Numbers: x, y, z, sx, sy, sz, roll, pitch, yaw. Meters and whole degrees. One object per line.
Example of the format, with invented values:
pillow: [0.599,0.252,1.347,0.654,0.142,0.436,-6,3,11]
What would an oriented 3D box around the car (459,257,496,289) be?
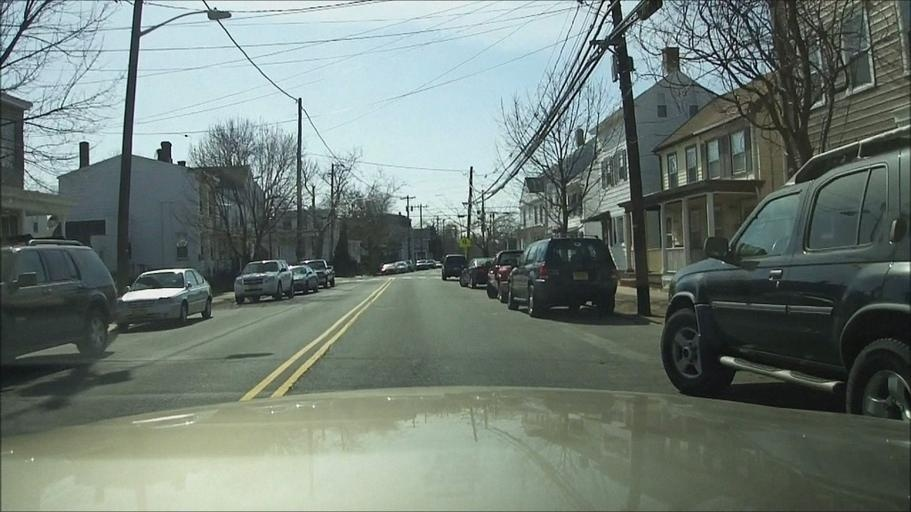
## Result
car: [1.085,0.821,42.554,1.463,0.966,2.877,0,1,-10]

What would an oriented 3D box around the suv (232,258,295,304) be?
suv: [-7.418,0.915,36.436,1.284,1.020,2.451,-2,-5,3]
